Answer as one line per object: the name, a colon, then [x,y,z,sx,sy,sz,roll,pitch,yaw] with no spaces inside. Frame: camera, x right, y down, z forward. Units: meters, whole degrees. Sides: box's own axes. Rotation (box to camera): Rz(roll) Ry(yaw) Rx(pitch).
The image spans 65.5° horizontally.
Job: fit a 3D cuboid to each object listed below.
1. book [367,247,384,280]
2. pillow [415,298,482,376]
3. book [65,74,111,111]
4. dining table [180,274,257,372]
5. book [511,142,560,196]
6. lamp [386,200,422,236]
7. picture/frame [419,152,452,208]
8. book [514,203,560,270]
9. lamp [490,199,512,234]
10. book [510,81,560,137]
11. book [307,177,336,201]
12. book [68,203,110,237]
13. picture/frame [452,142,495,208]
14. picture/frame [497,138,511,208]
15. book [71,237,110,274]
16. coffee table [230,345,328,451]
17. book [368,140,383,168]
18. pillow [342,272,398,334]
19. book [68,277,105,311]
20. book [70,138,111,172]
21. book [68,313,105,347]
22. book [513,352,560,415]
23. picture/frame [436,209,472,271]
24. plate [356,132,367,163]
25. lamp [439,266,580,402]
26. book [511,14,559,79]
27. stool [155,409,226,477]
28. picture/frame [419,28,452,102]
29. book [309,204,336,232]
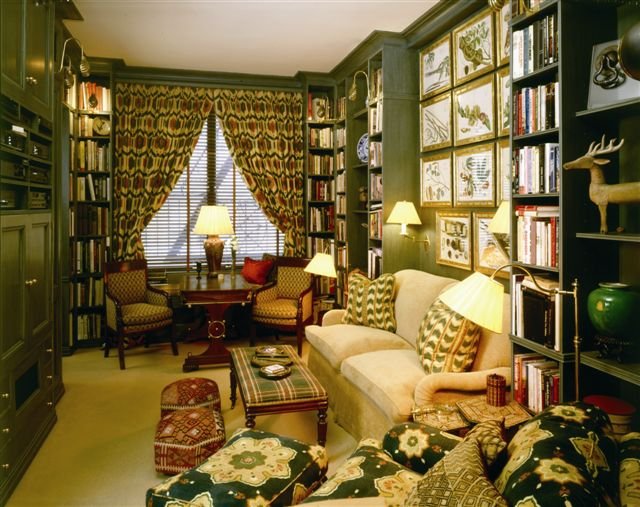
book: [0.574,0.081,5.285,0.230,0.356,0.341,0,3,-15]
pillow: [0.876,0.588,3.452,0.323,0.485,0.647,1,-4,-7]
book: [-2.574,-1.781,5.511,0.473,0.375,0.270,-6,6,-39]
dining table: [-1.076,0.569,5.385,0.718,0.924,1.271,1,4,-9]
book: [1.252,-0.452,2.877,0.218,0.334,0.325,4,6,29]
lamp: [0.838,-0.349,4.894,0.327,0.374,0.336,1,8,21]
picture/frame: [1.121,-0.723,4.767,0.040,0.576,0.527,-1,3,-26]
book: [1.279,-0.096,2.939,0.258,0.381,0.365,2,3,34]
lamp: [1.308,-0.271,3.631,0.134,0.234,0.171,0,5,24]
book: [1.225,-0.833,2.831,0.039,0.284,0.329,-3,5,-23]
book: [0.010,-0.781,6.441,0.250,0.374,0.355,0,-1,15]
book: [-2.600,-0.383,5.701,0.466,0.497,0.297,1,3,-12]
picture/frame: [1.328,-0.687,4.255,0.041,0.647,0.533,0,5,-24]
picture/frame: [1.400,-0.643,3.793,0.075,0.503,0.435,0,4,18]
book: [-2.700,-0.002,5.824,0.318,0.466,0.442,0,0,-26]
coffee table: [-0.368,1.139,3.853,0.548,0.554,1.160,-1,5,-16]
book: [0.550,-1.027,5.239,0.194,0.375,0.308,0,2,3]
pillow: [0.457,0.455,4.439,0.432,0.428,0.171,-1,-10,37]
book: [-2.640,0.438,5.636,0.274,0.424,0.389,0,0,-25]
book: [-2.577,-1.122,5.596,0.415,0.366,0.211,-4,5,-31]
book: [-2.646,0.849,5.749,0.404,0.446,0.307,0,3,-12]
book: [1.243,0.744,2.879,0.322,0.339,0.236,4,-2,-39]
picture/frame: [1.237,-0.137,4.550,0.038,0.577,0.530,-1,3,-23]
plate: [0.510,-1.263,5.862,0.115,0.362,0.326,-2,4,-6]
lamp: [1.016,0.410,2.584,0.536,0.740,0.767,2,6,41]
book: [1.212,-1.177,2.812,0.035,0.293,0.334,-3,5,-25]
stool: [-0.850,1.139,3.185,0.352,0.287,0.376,-1,5,-11]
picture/frame: [1.098,-1.806,4.677,0.044,0.723,0.663,0,2,-22]
book: [0.022,-0.452,6.451,0.273,0.404,0.389,-2,4,-3]
